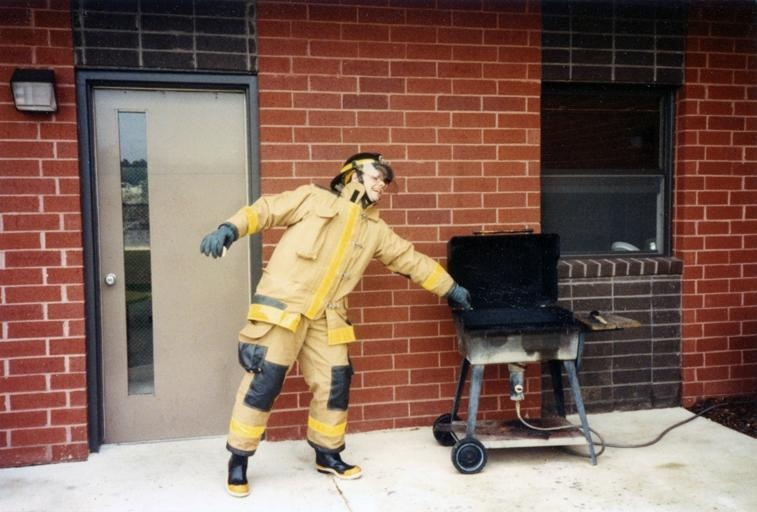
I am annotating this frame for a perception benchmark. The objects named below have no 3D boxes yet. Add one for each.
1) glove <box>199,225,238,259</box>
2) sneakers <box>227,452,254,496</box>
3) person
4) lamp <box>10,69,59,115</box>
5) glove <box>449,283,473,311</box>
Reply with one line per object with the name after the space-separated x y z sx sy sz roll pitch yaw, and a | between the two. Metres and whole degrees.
-1.153 -0.073 6.880 0.286 0.235 0.115 -35 -28 -11 | glove
-1.074 1.660 7.082 0.169 0.320 0.275 -2 6 -9 | sneakers
-0.444 0.505 7.141 1.757 2.590 0.421 -2 7 -10 | person
-2.733 -1.306 7.279 0.392 0.308 0.187 2 21 -5 | lamp
0.654 0.332 7.295 0.152 0.146 0.218 -6 -17 26 | glove
